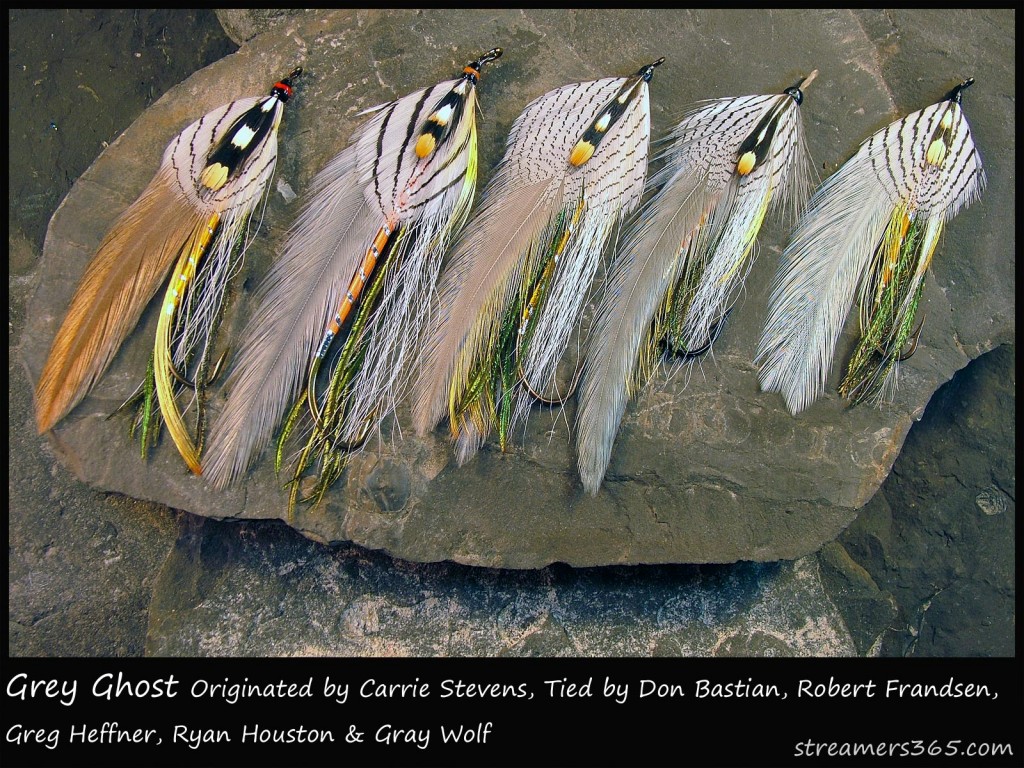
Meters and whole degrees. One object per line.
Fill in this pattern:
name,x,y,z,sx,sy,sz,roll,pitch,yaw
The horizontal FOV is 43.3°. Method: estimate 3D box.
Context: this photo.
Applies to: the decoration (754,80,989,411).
decoration,2.916,-0.947,9.024,1.348,3.505,0.358,-41,56,4
